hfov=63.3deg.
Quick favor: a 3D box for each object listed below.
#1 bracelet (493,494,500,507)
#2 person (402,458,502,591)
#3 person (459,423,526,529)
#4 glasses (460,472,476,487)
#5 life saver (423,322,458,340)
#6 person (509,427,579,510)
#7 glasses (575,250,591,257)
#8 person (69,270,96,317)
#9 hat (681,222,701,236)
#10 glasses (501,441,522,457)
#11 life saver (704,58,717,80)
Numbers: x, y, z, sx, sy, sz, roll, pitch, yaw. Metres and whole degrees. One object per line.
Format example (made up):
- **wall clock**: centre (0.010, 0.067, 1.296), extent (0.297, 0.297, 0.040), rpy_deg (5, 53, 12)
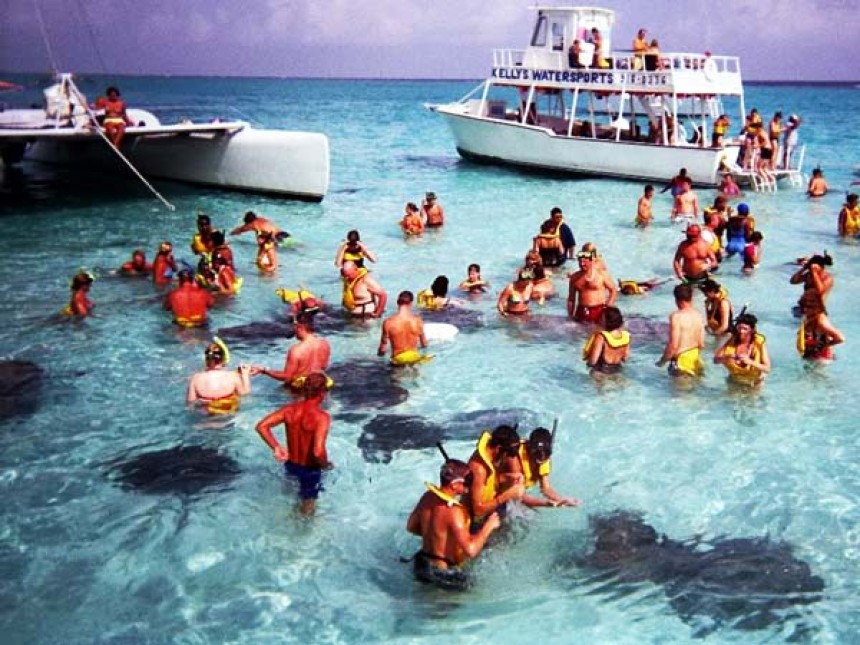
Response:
- **bracelet**: centre (0.672, 1.764, 6.906), extent (0.025, 0.079, 0.090), rpy_deg (-4, 17, -21)
- **person**: centre (0.152, 1.838, 6.470), extent (0.848, 1.251, 0.360), rpy_deg (7, 23, 19)
- **person**: centre (0.634, 1.578, 6.985), extent (0.592, 1.169, 0.512), rpy_deg (-4, 54, 2)
- **glasses**: centre (0.357, 1.465, 6.520), extent (0.165, 0.172, 0.192), rpy_deg (0, -5, 3)
- **life saver**: centre (0.192, 0.138, 11.664), extent (0.606, 0.158, 0.590), rpy_deg (-4, 18, -13)
- **person**: centre (1.104, 1.537, 7.180), extent (0.460, 0.795, 1.014), rpy_deg (3, 8, -17)
- **glasses**: centre (2.541, -1.125, 11.634), extent (0.143, 0.118, 0.279), rpy_deg (-11, 21, -28)
- **person**: centre (-6.169, -0.507, 12.279), extent (0.435, 0.764, 0.543), rpy_deg (-11, 23, -26)
- **hat**: centre (5.077, -1.779, 13.484), extent (0.430, 0.173, 0.534), rpy_deg (0, 9, 17)
- **glasses**: centre (0.810, 1.240, 6.912), extent (0.162, 0.140, 0.172), rpy_deg (5, 17, -21)
- **life saver**: centre (9.121, -8.303, 22.929), extent (0.364, 0.705, 0.626), rpy_deg (11, 23, 26)
